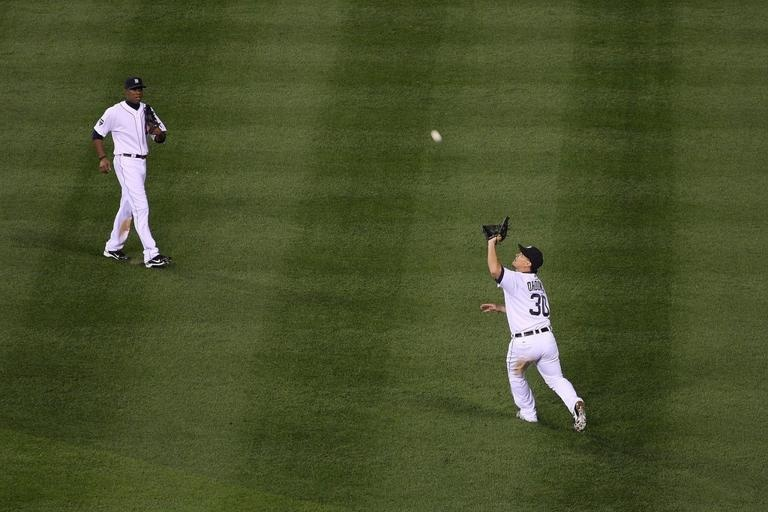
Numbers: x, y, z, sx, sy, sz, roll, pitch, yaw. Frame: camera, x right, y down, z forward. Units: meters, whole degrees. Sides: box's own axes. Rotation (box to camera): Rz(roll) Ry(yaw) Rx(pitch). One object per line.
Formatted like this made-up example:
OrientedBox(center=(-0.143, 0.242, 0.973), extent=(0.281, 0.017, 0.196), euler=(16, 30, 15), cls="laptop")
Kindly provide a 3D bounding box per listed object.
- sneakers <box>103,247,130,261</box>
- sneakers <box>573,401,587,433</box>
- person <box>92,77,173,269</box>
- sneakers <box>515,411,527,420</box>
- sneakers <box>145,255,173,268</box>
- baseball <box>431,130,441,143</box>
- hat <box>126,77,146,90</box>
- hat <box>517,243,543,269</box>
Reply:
OrientedBox(center=(-4.229, -0.030, 19.437), extent=(0.429, 0.172, 0.154), euler=(4, 15, -1), cls="sneakers")
OrientedBox(center=(2.792, 2.319, 17.591), extent=(0.215, 0.495, 0.241), euler=(-3, 13, -3), cls="sneakers")
OrientedBox(center=(-3.911, -1.284, 19.066), extent=(1.123, 2.901, 1.020), euler=(-1, 22, -12), cls="person")
OrientedBox(center=(2.011, 2.364, 18.067), extent=(0.095, 0.127, 0.046), euler=(-14, 25, 52), cls="sneakers")
OrientedBox(center=(-3.529, 0.097, 19.218), extent=(0.420, 0.166, 0.173), euler=(-6, -2, 26), cls="sneakers")
OrientedBox(center=(0.878, -2.001, 20.497), extent=(0.183, 0.180, 0.225), euler=(2, 20, -4), cls="baseball")
OrientedBox(center=(-3.881, -2.646, 18.959), extent=(0.282, 0.166, 0.365), euler=(-9, 6, -38), cls="hat")
OrientedBox(center=(2.088, 0.005, 17.803), extent=(0.425, 0.224, 0.318), euler=(50, 24, 8), cls="hat")
